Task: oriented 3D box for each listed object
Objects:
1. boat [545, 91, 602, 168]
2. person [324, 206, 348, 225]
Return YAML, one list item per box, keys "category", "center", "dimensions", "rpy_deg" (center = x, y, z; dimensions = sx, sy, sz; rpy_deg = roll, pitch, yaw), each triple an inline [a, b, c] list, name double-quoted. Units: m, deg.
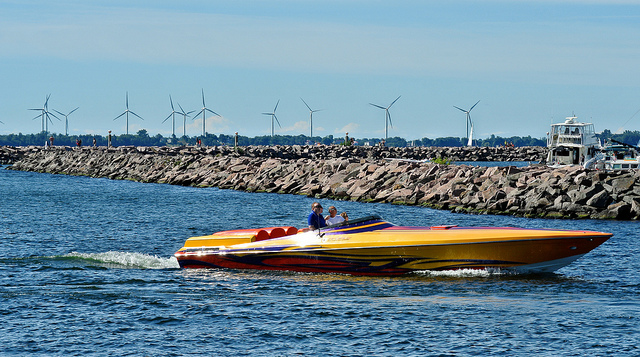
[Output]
- category: "boat"
  center: [18.913, -2.753, 83.380]
  dimensions: [3.504, 4.051, 3.104]
  rpy_deg: [3, 1, 9]
- category: "person"
  center: [0.778, 1.784, 52.892]
  dimensions: [0.865, 0.944, 0.344]
  rpy_deg: [-8, -42, -9]
